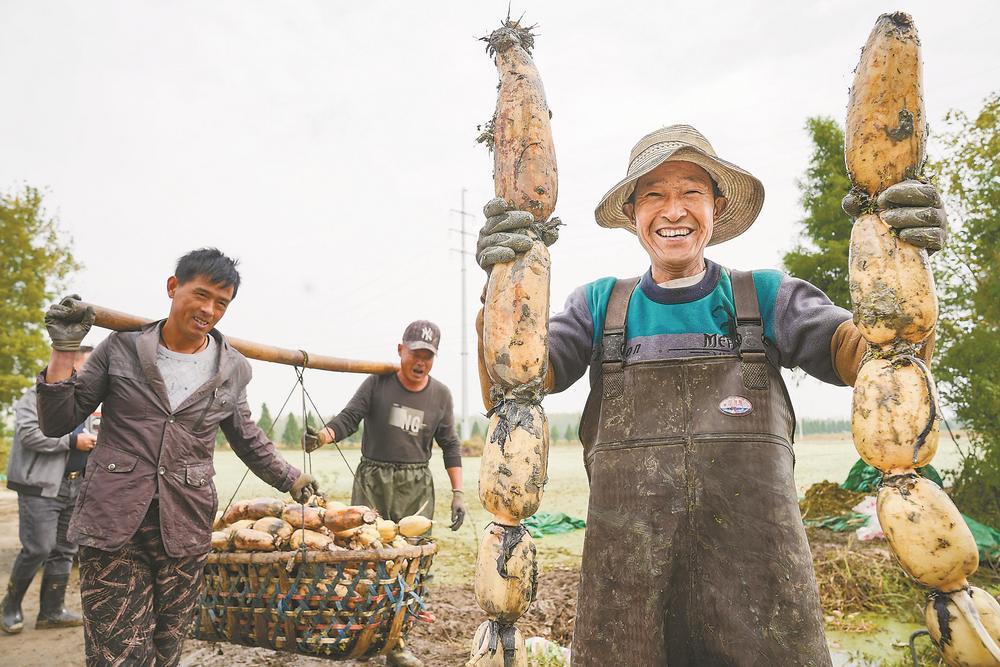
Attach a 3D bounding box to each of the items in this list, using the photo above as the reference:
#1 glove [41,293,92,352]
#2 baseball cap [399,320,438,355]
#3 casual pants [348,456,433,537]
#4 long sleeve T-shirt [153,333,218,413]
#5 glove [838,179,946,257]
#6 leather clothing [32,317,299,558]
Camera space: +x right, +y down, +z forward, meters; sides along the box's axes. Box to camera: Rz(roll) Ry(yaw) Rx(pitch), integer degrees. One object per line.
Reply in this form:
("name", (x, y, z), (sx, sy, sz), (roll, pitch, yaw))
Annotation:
("glove", (-3.146, -0.089, 7.448), (0.349, 0.405, 0.302), (1, -10, -10))
("baseball cap", (-0.738, 0.047, 9.333), (0.255, 0.243, 0.390), (16, -2, -17))
("casual pants", (-1.087, 1.583, 10.291), (0.875, 0.884, 0.535), (3, -19, -10))
("long sleeve T-shirt", (-2.404, 0.319, 8.020), (0.513, 0.786, 0.411), (1, -11, -19))
("glove", (2.367, -0.729, 6.152), (0.534, 0.450, 0.289), (11, 12, 15))
("leather clothing", (-2.670, 0.855, 7.975), (1.755, 1.552, 0.817), (14, -28, -29))
